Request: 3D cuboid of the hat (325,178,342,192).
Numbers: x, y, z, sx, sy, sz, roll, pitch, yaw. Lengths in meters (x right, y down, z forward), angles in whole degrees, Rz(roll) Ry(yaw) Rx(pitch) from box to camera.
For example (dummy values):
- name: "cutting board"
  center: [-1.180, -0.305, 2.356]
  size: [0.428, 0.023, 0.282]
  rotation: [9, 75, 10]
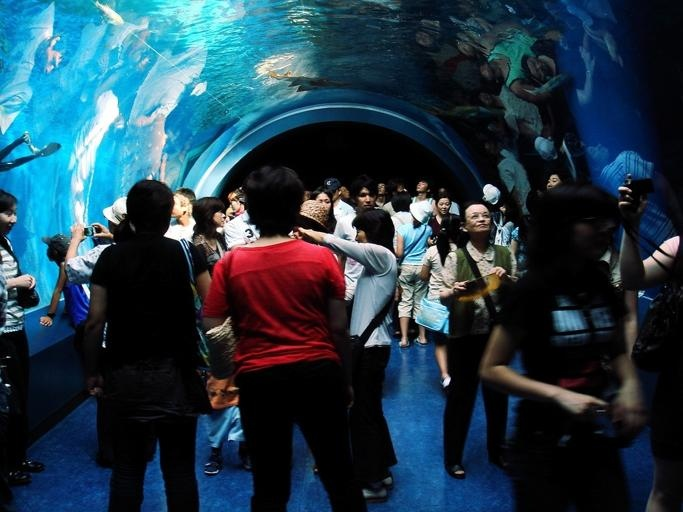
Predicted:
- name: "hat"
  center: [-0.227, -1.313, 9.632]
  size: [0.335, 0.239, 0.466]
  rotation: [2, -1, 13]

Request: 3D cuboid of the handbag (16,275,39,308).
- name: "handbag"
  center: [-2.675, 0.350, 4.437]
  size: [0.151, 0.180, 0.247]
  rotation: [1, -5, -31]

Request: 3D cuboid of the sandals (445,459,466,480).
- name: "sandals"
  center: [0.981, 1.838, 4.472]
  size: [0.160, 0.116, 0.115]
  rotation: [-2, -4, 5]

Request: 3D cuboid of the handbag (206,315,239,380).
- name: "handbag"
  center: [-0.680, 0.527, 2.944]
  size: [0.169, 0.351, 0.201]
  rotation: [-1, -4, -12]

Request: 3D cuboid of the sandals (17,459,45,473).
- name: "sandals"
  center: [-2.733, 1.854, 4.609]
  size: [0.228, 0.081, 0.074]
  rotation: [8, 27, -24]

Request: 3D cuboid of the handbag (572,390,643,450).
- name: "handbag"
  center: [1.173, 0.736, 2.309]
  size: [0.275, 0.257, 0.111]
  rotation: [-1, -4, -11]

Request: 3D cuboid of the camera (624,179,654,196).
- name: "camera"
  center: [1.578, -0.366, 2.766]
  size: [0.127, 0.124, 0.232]
  rotation: [-4, -5, 28]

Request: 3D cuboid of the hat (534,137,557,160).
- name: "hat"
  center: [3.491, -1.851, 8.920]
  size: [0.290, 0.211, 0.421]
  rotation: [6, 3, 4]

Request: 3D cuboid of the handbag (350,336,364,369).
- name: "handbag"
  center: [0.134, 0.752, 4.061]
  size: [0.115, 0.277, 0.117]
  rotation: [-1, -4, -5]
